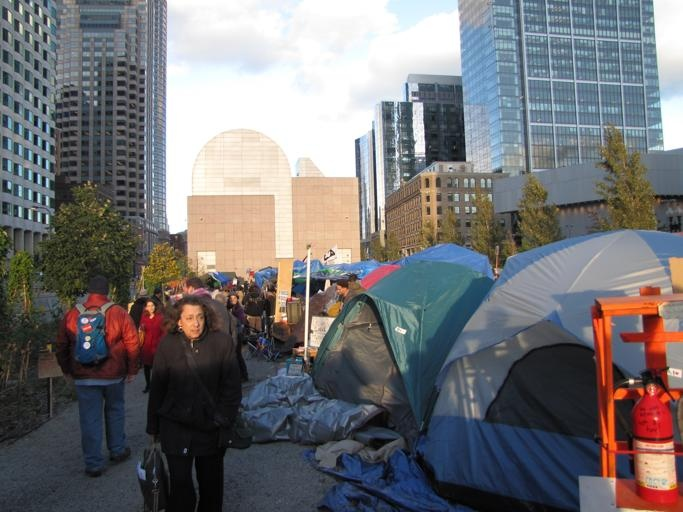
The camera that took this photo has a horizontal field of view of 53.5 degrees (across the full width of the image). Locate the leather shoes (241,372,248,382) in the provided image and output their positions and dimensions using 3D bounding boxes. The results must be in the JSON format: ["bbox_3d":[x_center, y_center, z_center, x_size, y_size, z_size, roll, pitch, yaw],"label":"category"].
[{"bbox_3d":[-1.956,2.480,13.747,0.117,0.182,0.059,-5,1,6],"label":"leather shoes"}]

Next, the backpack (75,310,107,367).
[{"bbox_3d":[-3.418,1.137,9.275,0.419,0.769,0.172,-2,-1,-16],"label":"backpack"}]
